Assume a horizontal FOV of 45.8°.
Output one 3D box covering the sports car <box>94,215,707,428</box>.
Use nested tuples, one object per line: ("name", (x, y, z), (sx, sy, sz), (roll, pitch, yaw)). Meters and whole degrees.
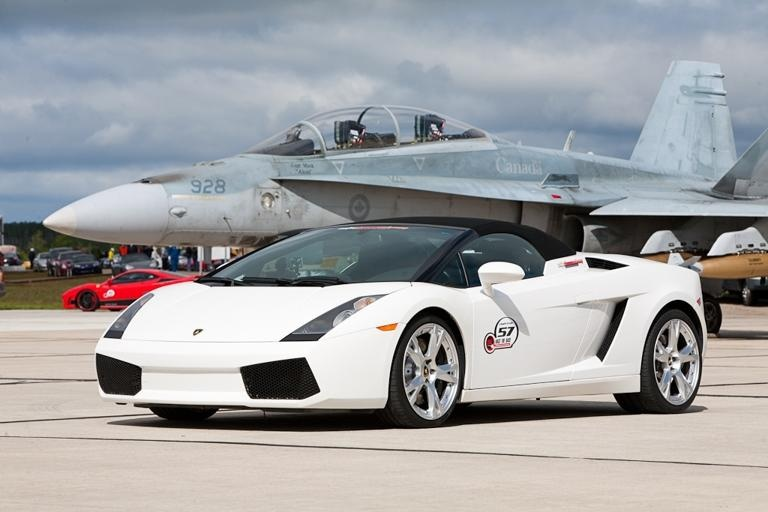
("sports car", (0.263, 0.545, 7.768), (5.149, 1.411, 1.359), (-1, -2, -15))
